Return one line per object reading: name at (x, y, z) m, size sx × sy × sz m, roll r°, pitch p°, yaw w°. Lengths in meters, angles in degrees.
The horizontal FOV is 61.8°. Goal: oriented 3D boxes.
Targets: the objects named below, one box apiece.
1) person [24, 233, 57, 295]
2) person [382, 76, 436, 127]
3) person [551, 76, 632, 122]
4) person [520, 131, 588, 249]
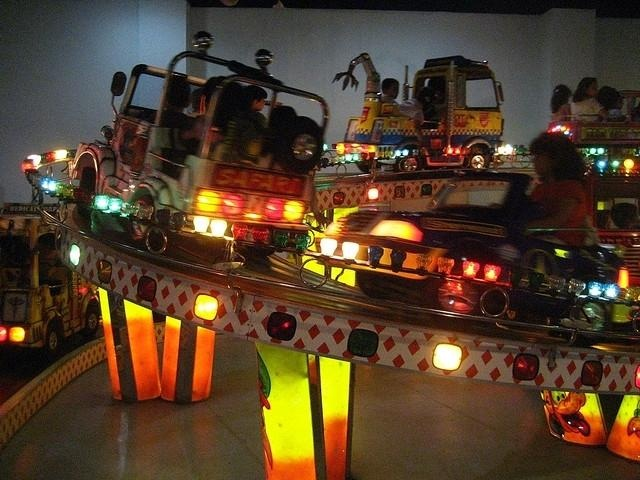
person at (-3.846, 0.352, 7.321) m, size 0.452 × 0.777 × 0.835 m, roll 5°, pitch -4°, yaw -34°
person at (1.568, -2.885, 10.962) m, size 1.660 × 0.833 × 0.734 m, roll 1°, pitch 11°, yaw 6°
person at (5.032, -2.514, 9.773) m, size 1.321 × 0.641 × 1.317 m, roll -4°, pitch 10°, yaw -18°
person at (2.282, -0.520, 5.164) m, size 0.622 × 1.078 × 0.602 m, roll 9°, pitch 7°, yaw 36°
